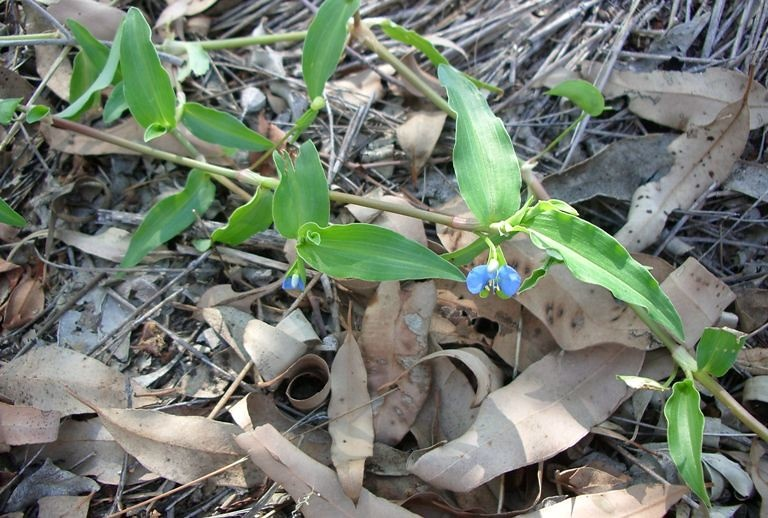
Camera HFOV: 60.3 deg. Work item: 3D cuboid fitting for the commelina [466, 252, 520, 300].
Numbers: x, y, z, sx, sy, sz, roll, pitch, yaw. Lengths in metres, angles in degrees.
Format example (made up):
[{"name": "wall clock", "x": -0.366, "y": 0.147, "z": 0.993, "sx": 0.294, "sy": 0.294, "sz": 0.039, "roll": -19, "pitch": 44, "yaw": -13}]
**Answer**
[{"name": "commelina", "x": 0.401, "y": 0.060, "z": 2.430, "sx": 0.187, "sy": 0.152, "sz": 0.074, "roll": -3, "pitch": 7, "yaw": 10}]
